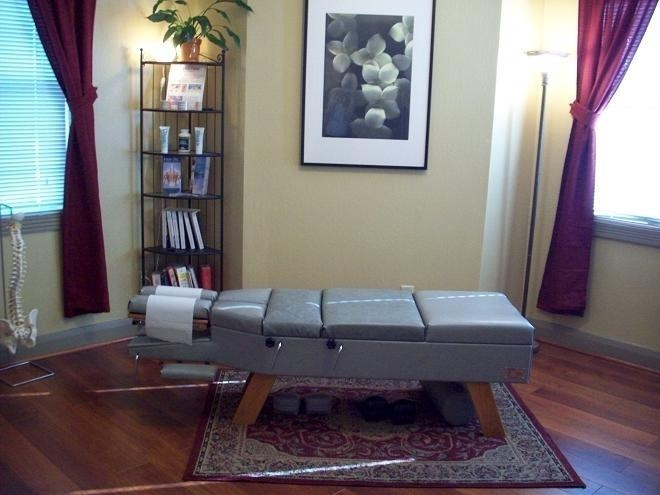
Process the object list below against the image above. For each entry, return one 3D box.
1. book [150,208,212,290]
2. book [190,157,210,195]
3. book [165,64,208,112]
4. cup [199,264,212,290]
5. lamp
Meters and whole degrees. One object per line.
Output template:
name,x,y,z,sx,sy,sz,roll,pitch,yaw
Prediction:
book,-1.368,-0.008,4.550,0.626,0.889,0.673,-1,-1,-9
book,-1.032,-0.572,4.184,0.065,0.253,0.278,8,3,-41
book,-1.111,-1.240,4.061,0.427,0.461,0.049,4,-3,14
cup,-1.003,0.241,4.236,0.100,0.166,0.175,0,8,-10
lamp,1.680,-0.484,4.274,0.304,2.180,0.590,5,16,22
